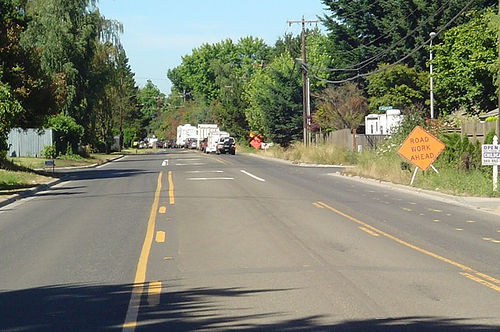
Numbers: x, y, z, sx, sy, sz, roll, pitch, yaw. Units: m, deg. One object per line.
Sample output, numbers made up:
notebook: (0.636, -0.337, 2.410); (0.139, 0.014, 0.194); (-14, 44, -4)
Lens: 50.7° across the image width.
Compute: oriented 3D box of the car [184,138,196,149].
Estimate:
car: (-10.805, -4.050, 94.582); (1.349, 1.208, 2.415); (0, 10, -11)

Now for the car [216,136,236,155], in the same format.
car: (-3.134, -2.570, 67.581); (2.184, 2.135, 2.484); (0, 5, -16)

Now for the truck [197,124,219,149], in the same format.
truck: (-7.074, -5.131, 84.983); (2.630, 2.854, 4.275); (0, 1, -10)

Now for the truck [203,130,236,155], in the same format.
truck: (-3.867, -3.087, 68.793); (2.509, 2.708, 4.585); (0, 8, -11)
